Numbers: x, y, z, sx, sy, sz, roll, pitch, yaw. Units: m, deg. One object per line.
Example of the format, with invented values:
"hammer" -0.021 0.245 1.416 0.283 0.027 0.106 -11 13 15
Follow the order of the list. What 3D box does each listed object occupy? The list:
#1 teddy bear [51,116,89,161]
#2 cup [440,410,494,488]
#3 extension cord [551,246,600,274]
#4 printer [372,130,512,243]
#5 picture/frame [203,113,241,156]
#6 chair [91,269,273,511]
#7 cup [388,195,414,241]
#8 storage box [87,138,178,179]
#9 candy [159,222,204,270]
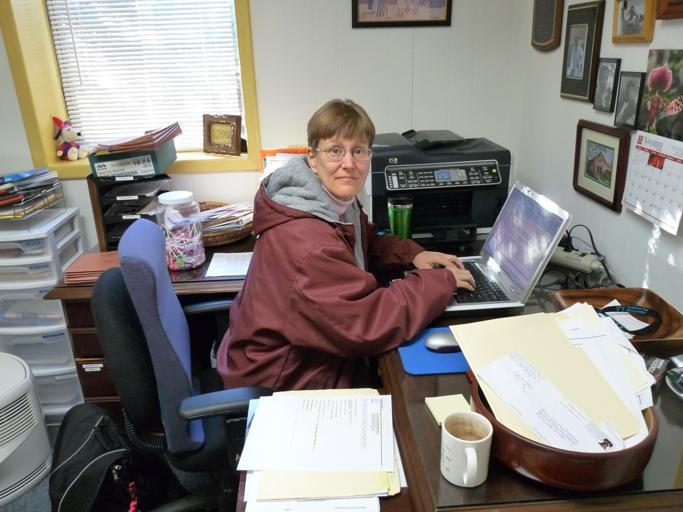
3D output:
"teddy bear" -1.508 -0.647 2.811 0.144 0.226 0.179 5 32 -2
"cup" 0.284 0.436 1.199 0.105 0.123 0.159 0 27 3
"extension cord" 0.906 0.016 1.961 0.081 0.058 0.149 -14 24 -26
"printer" 0.441 -0.163 2.336 0.595 0.630 0.454 -1 30 0
"picture/frame" -0.665 -0.681 2.851 0.200 0.218 0.038 3 5 10
"chair" -0.586 0.356 1.727 0.378 0.729 0.452 -9 21 -18
"cup" 0.243 -0.160 2.106 0.117 0.221 0.156 1 21 5
"storage box" -1.037 -0.452 2.508 0.354 0.149 0.181 -16 25 -25
"candy" -0.684 -0.055 2.317 0.169 0.220 0.192 4 18 12
